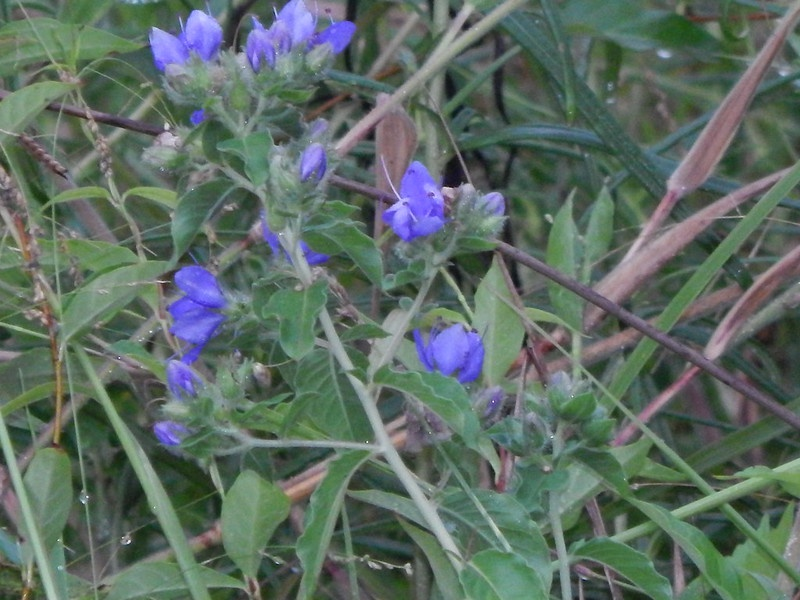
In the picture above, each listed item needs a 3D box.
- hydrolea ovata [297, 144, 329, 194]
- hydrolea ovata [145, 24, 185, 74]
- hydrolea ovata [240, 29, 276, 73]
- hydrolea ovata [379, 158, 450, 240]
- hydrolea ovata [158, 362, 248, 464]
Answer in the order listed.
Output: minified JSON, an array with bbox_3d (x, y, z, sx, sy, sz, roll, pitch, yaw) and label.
[{"bbox_3d":[-0.103,-0.157,1.207,0.028,0.051,0.062,7,59,2],"label":"hydrolea ovata"},{"bbox_3d":[-0.279,-0.295,1.242,0.043,0.058,0.056,-12,60,-9],"label":"hydrolea ovata"},{"bbox_3d":[-0.170,-0.303,1.231,0.036,0.038,0.049,-11,60,-9],"label":"hydrolea ovata"},{"bbox_3d":[0.020,-0.124,1.266,0.076,0.048,0.099,-2,94,-14],"label":"hydrolea ovata"},{"bbox_3d":[-0.253,0.136,1.242,0.085,0.085,0.104,2,59,-2],"label":"hydrolea ovata"}]
